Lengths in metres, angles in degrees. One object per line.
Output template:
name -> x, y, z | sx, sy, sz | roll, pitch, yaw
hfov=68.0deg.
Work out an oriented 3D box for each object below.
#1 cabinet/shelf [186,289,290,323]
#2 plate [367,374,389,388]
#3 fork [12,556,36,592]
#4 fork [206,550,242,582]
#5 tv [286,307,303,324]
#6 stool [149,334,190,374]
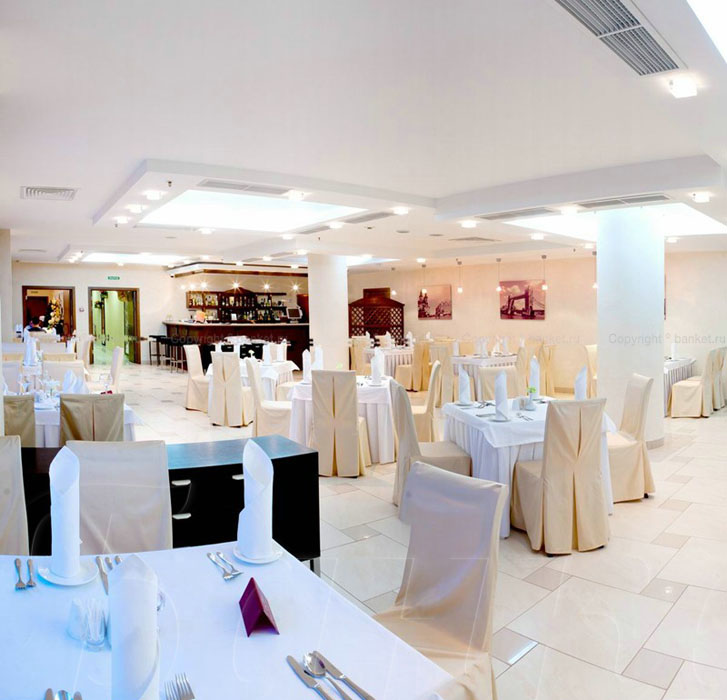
cabinet/shelf -> -3.700, -1.369, 16.079 | 2.842, 1.004, 1.018 | -1, 4, -16
plate -> 0.151, 0.338, 5.930 | 0.224, 0.106, 0.553 | 0, 4, 1
fork -> -0.994, 0.636, 1.583 | 0.053, 0.035, 0.174 | 4, 7, -24
fork -> -0.430, 0.663, 1.667 | 0.046, 0.017, 0.124 | -4, 9, -29
tv -> -2.067, -1.054, 16.236 | 0.339, 0.423, 0.396 | -1, 28, -6
stool -> -5.302, 0.100, 14.750 | 0.792, 1.071, 0.783 | -7, 12, -42
